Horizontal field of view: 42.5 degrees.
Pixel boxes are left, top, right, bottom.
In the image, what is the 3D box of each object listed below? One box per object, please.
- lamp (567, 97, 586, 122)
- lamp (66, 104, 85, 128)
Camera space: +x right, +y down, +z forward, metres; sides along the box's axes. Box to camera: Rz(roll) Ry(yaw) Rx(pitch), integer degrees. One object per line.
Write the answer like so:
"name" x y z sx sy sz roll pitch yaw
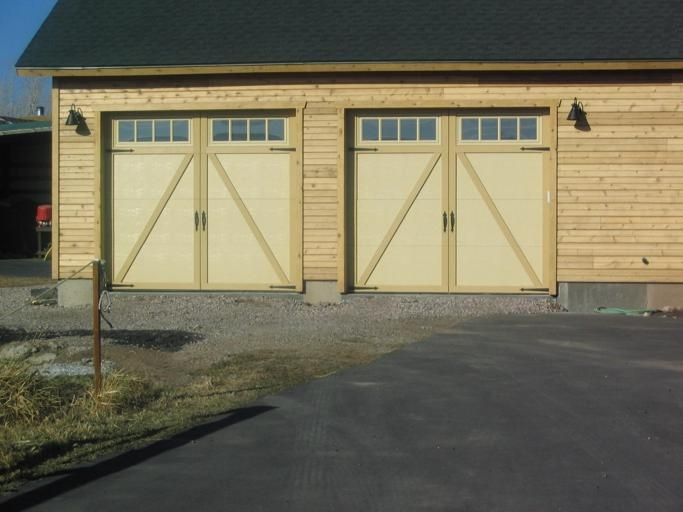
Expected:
"lamp" 3.894 -2.436 14.601 0.308 0.379 0.190 -11 17 -37
"lamp" -4.618 -2.420 15.124 0.333 0.390 0.254 6 15 25
